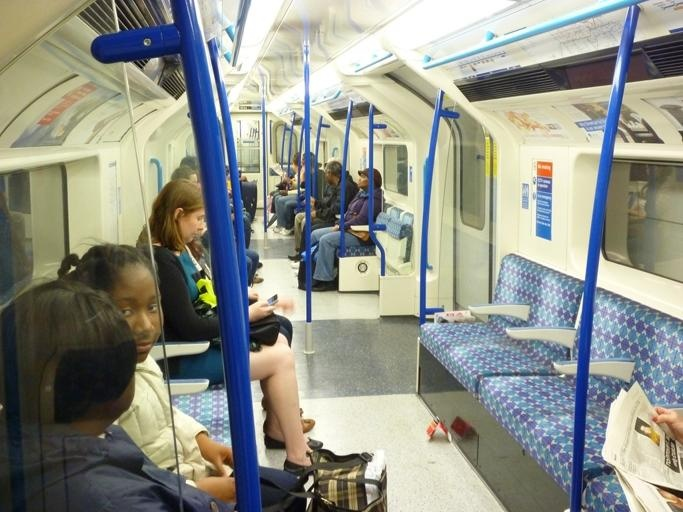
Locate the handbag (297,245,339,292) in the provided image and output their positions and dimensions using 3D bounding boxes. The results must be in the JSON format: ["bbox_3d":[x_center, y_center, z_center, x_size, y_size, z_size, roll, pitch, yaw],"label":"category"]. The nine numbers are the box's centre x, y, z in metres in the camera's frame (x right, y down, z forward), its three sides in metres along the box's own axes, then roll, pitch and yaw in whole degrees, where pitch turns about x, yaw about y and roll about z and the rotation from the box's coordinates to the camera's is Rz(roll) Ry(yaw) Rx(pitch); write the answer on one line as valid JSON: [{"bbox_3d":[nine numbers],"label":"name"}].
[{"bbox_3d":[-0.331,0.221,7.834,0.739,0.751,0.443,0,8,1],"label":"handbag"}]

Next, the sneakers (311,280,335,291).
[{"bbox_3d":[-0.280,0.411,7.643,0.355,0.265,0.132,-2,11,-4],"label":"sneakers"}]

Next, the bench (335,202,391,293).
[{"bbox_3d":[0.173,-0.037,8.132,0.953,1.735,0.963,1,4,-3],"label":"bench"}]
